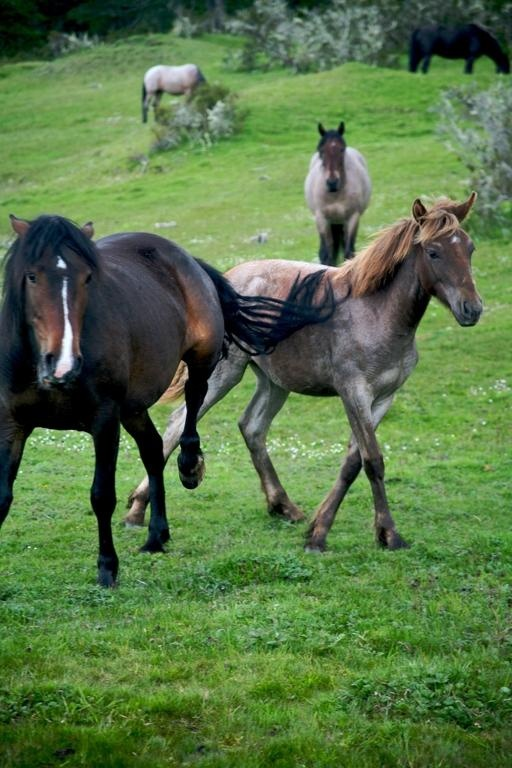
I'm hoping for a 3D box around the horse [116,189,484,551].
[{"bbox_3d":[0.587,-0.029,9.122,1.187,2.919,4.012,1,0,-41],"label":"horse"}]

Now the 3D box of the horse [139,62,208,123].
[{"bbox_3d":[-1.595,-6.144,21.417,1.889,0.985,0.446,7,15,26],"label":"horse"}]

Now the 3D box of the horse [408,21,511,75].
[{"bbox_3d":[4.527,-7.375,22.452,2.405,0.940,2.269,-1,8,-3],"label":"horse"}]
